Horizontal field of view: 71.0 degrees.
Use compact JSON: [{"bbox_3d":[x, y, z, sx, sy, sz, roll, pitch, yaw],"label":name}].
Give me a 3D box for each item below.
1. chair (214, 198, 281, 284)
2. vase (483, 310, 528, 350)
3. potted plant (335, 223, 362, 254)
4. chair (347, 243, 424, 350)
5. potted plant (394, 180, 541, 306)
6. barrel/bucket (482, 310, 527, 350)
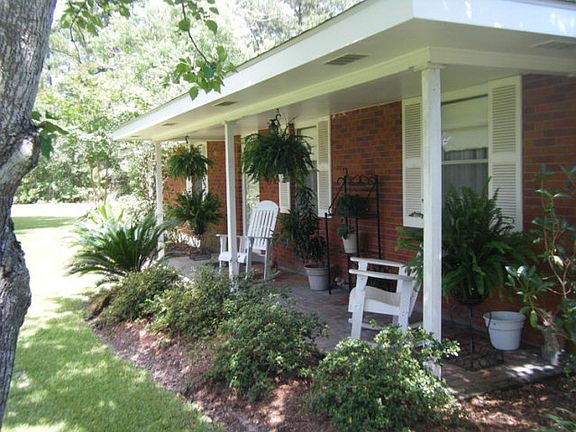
[{"bbox_3d":[-0.661,0.461,7.140,0.931,1.455,1.019,3,-1,-6],"label":"chair"},{"bbox_3d":[2.350,1.238,4.387,0.422,0.351,0.402,-3,-1,-37],"label":"vase"},{"bbox_3d":[0.936,0.324,6.110,0.377,0.491,0.407,0,0,-13],"label":"potted plant"},{"bbox_3d":[1.045,0.786,4.383,0.730,1.168,0.869,3,4,7],"label":"chair"},{"bbox_3d":[1.883,0.279,4.243,1.087,1.147,1.246,-1,2,17],"label":"potted plant"},{"bbox_3d":[2.350,1.240,4.383,0.383,0.362,0.435,-3,0,40],"label":"barrel/bucket"}]
